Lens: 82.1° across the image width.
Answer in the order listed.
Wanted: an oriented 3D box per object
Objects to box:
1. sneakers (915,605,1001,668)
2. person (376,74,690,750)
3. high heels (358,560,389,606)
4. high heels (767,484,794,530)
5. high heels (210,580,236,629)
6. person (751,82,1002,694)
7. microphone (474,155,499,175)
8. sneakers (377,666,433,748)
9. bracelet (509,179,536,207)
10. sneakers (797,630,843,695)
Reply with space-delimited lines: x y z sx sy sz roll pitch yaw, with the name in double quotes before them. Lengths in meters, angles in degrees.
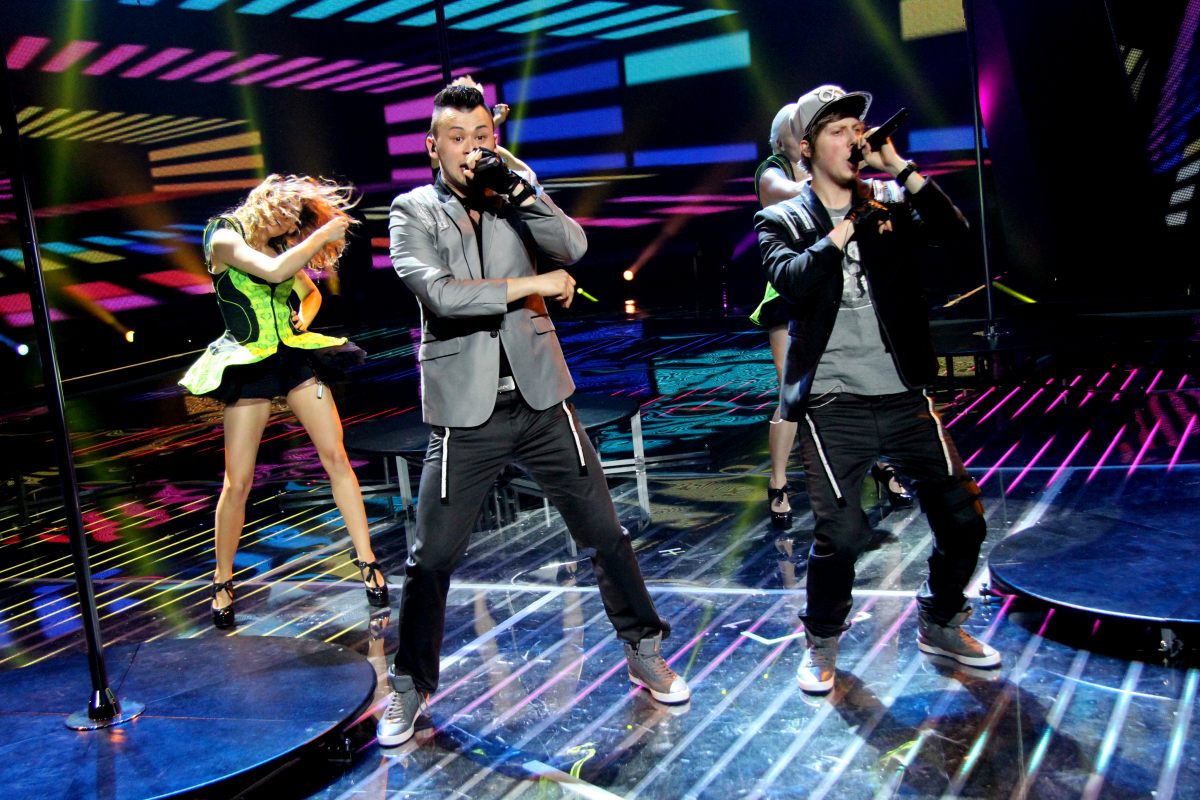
"sneakers" 1.156 0.775 2.308 0.325 0.163 0.120 3 14 28
"person" -0.368 0.011 2.184 0.936 2.025 0.544 -10 13 -4
"high heels" -1.002 0.820 3.095 0.105 0.096 0.292 -5 15 -32
"high heels" 0.914 0.562 3.522 0.109 0.093 0.277 -3 14 3
"high heels" -1.633 0.906 3.043 0.100 0.096 0.281 1 14 -26
"person" 0.846 -0.052 2.192 0.677 1.900 0.579 -8 14 8
"microphone" -0.328 -0.685 2.016 0.052 0.030 0.066 -8 34 18
"sneakers" -0.601 0.961 2.157 0.109 0.112 0.290 0 9 15
"bracelet" -0.235 -0.620 2.082 0.086 0.080 0.059 16 59 -3
"sneakers" 0.697 0.852 2.203 0.091 0.095 0.262 0 1 15
